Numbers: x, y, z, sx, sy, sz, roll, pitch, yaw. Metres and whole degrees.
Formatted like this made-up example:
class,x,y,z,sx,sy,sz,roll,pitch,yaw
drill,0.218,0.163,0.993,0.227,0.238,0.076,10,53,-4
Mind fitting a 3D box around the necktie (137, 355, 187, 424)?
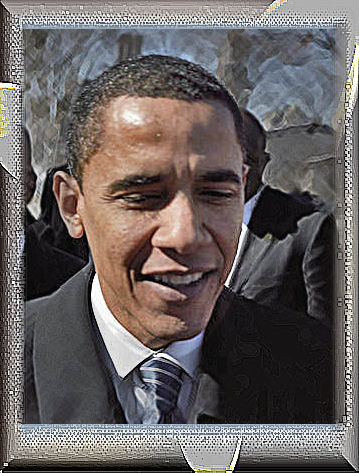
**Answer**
class,x,y,z,sx,sy,sz,roll,pitch,yaw
necktie,-0.066,0.649,2.441,0.219,0.278,0.090,13,5,7
